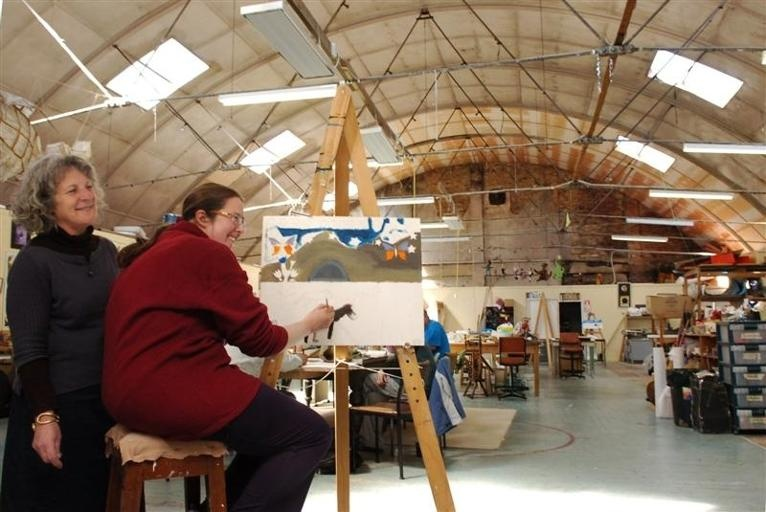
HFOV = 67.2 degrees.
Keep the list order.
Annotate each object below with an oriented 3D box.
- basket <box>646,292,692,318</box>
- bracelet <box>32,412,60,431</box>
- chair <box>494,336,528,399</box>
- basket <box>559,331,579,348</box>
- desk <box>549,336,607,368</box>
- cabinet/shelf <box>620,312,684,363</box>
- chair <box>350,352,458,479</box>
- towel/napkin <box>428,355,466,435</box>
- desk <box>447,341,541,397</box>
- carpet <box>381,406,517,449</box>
[{"bbox_3d":[5.056,0.861,10.140,0.652,0.352,0.472,1,-5,12],"label":"basket"},{"bbox_3d":[-2.029,0.987,3.443,0.120,0.056,0.122,-3,-8,5],"label":"bracelet"},{"bbox_3d":[2.653,2.188,11.807,0.604,1.139,2.359,-2,-4,13],"label":"chair"},{"bbox_3d":[4.675,2.094,14.408,0.420,0.395,0.391,0,-22,5],"label":"basket"},{"bbox_3d":[6.700,3.189,19.210,1.483,0.790,0.780,-6,-11,20],"label":"desk"},{"bbox_3d":[8.051,2.592,17.620,1.243,1.543,3.573,-2,-4,17],"label":"cabinet/shelf"},{"bbox_3d":[0.185,1.716,6.720,1.164,1.301,1.849,-1,-4,0],"label":"chair"},{"bbox_3d":[0.788,1.679,7.092,0.603,0.757,0.425,-2,3,-27],"label":"towel/napkin"},{"bbox_3d":[2.329,2.148,11.881,1.710,0.761,1.149,-3,-7,10],"label":"desk"},{"bbox_3d":[0.771,2.077,6.895,1.374,0.064,1.454,-2,0,10],"label":"carpet"}]
